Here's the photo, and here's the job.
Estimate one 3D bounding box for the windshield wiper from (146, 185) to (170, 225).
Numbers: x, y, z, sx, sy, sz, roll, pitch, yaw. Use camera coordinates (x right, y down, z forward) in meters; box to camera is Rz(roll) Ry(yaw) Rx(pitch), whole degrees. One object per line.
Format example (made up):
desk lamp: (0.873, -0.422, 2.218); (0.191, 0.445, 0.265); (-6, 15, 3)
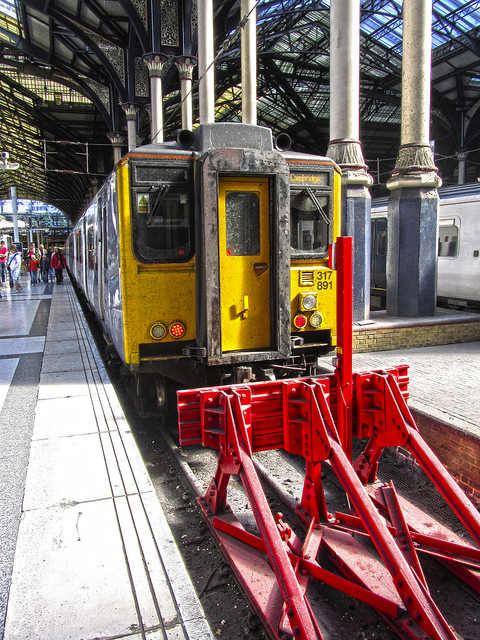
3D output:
windshield wiper: (-0.804, -1.131, 4.362); (0.052, 0.394, 0.044); (12, 20, -39)

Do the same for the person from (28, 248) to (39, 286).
person: (-10.774, -2.837, 23.599); (0.355, 1.827, 1.527); (-4, 6, -25)

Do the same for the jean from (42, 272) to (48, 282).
jean: (-10.991, -2.461, 25.541); (0.199, 0.530, 0.577); (-3, 6, -20)

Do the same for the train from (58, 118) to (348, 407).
train: (-0.664, -0.934, 6.416); (1.434, 2.177, 6.980); (-2, 10, -13)
